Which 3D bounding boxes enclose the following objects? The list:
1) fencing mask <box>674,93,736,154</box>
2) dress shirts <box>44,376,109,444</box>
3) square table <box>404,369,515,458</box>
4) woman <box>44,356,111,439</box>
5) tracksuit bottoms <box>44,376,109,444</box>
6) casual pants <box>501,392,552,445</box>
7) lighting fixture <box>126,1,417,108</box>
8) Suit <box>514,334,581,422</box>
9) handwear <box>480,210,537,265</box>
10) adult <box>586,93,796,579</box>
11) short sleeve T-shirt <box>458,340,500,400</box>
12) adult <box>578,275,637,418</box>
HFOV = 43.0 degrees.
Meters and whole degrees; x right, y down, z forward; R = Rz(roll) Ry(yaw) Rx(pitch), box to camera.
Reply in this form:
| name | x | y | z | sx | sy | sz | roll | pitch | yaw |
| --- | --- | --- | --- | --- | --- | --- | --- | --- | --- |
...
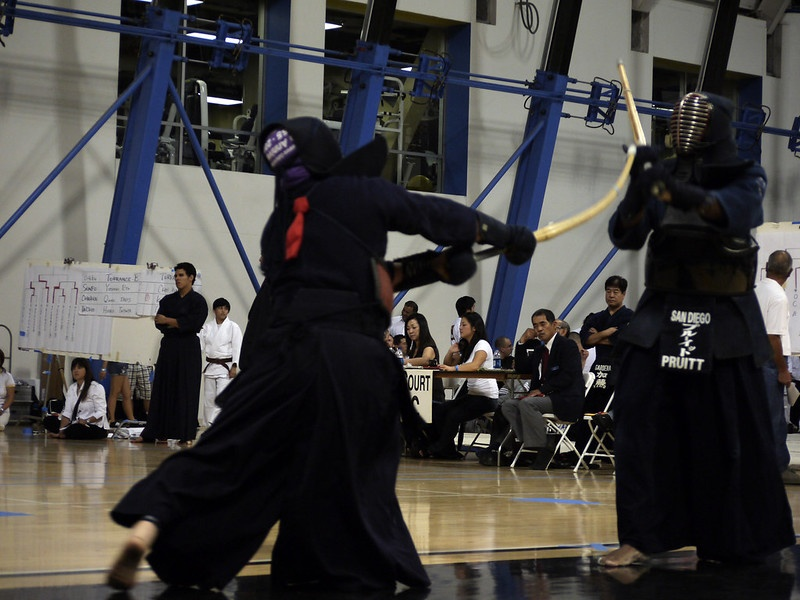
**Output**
| name | x | y | z | sx | sy | sz | roll | pitch | yaw |
| --- | --- | --- | --- | --- | --- | --- | --- | --- | --- |
| fencing mask | 1.401 | -0.824 | 4.911 | 0.311 | 0.314 | 0.219 | 3 | -5 | -31 |
| dress shirts | -3.323 | 1.207 | 10.847 | 0.749 | 0.809 | 0.565 | -6 | -15 | 23 |
| square table | 0.535 | 0.991 | 9.889 | 0.836 | 1.113 | 0.598 | 1 | -6 | -12 |
| woman | -3.416 | 1.062 | 10.849 | 0.670 | 0.867 | 0.565 | 0 | -2 | 36 |
| tracksuit bottoms | -3.352 | 1.262 | 10.833 | 0.749 | 0.809 | 0.565 | -6 | -15 | 23 |
| casual pants | 1.169 | 1.066 | 9.198 | 0.388 | 0.485 | 0.399 | -4 | -2 | -34 |
| lighting fixture | -1.631 | -3.337 | 12.647 | 2.981 | 0.817 | 1.792 | 11 | -7 | -26 |
| Suit | 1.369 | 0.674 | 9.282 | 0.609 | 0.818 | 0.473 | -3 | -1 | 31 |
| handwear | 0.452 | -0.255 | 4.322 | 0.265 | 0.170 | 0.105 | 15 | -16 | -14 |
| adult | 1.402 | 0.133 | 4.697 | 0.898 | 2.231 | 0.778 | 2 | -4 | 9 |
| short sleeve T-shirt | 0.797 | 0.696 | 9.977 | 0.467 | 0.742 | 0.539 | 2 | -5 | 0 |
| adult | 1.856 | 0.603 | 9.397 | 0.449 | 1.609 | 0.394 | 8 | 7 | 26 |
